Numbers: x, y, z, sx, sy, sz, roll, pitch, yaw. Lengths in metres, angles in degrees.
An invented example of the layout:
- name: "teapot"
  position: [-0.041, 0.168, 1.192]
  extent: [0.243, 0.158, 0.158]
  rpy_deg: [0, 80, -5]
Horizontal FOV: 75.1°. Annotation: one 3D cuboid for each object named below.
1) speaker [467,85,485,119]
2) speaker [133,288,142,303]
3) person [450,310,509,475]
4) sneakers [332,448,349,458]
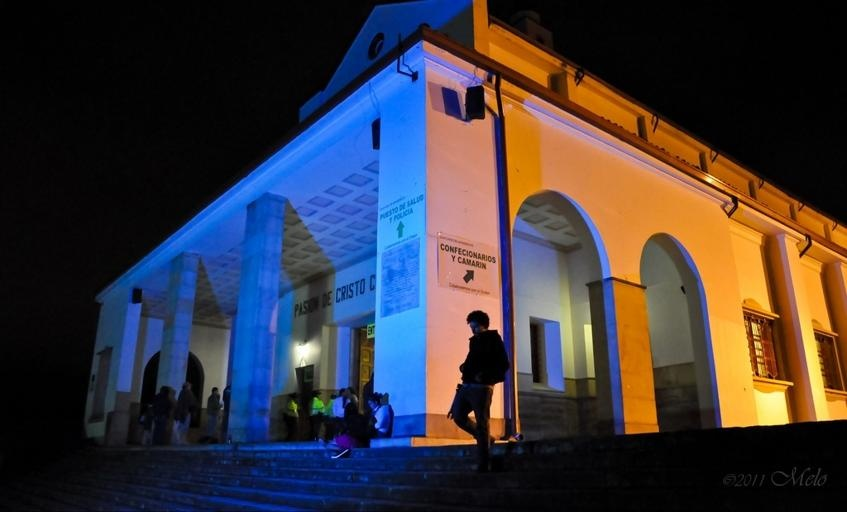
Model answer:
- name: "speaker"
  position: [1.082, -3.245, 11.721]
  extent: [0.371, 0.675, 0.537]
  rpy_deg: [-2, -21, 1]
- name: "speaker"
  position: [-11.235, 1.503, 21.648]
  extent: [0.319, 0.583, 0.393]
  rpy_deg: [12, -25, -31]
- name: "person"
  position: [0.848, 1.953, 8.292]
  extent: [0.701, 2.387, 0.904]
  rpy_deg: [5, -23, -16]
- name: "sneakers"
  position: [-1.413, 3.482, 9.711]
  extent: [0.370, 0.140, 0.125]
  rpy_deg: [-11, -33, 18]
